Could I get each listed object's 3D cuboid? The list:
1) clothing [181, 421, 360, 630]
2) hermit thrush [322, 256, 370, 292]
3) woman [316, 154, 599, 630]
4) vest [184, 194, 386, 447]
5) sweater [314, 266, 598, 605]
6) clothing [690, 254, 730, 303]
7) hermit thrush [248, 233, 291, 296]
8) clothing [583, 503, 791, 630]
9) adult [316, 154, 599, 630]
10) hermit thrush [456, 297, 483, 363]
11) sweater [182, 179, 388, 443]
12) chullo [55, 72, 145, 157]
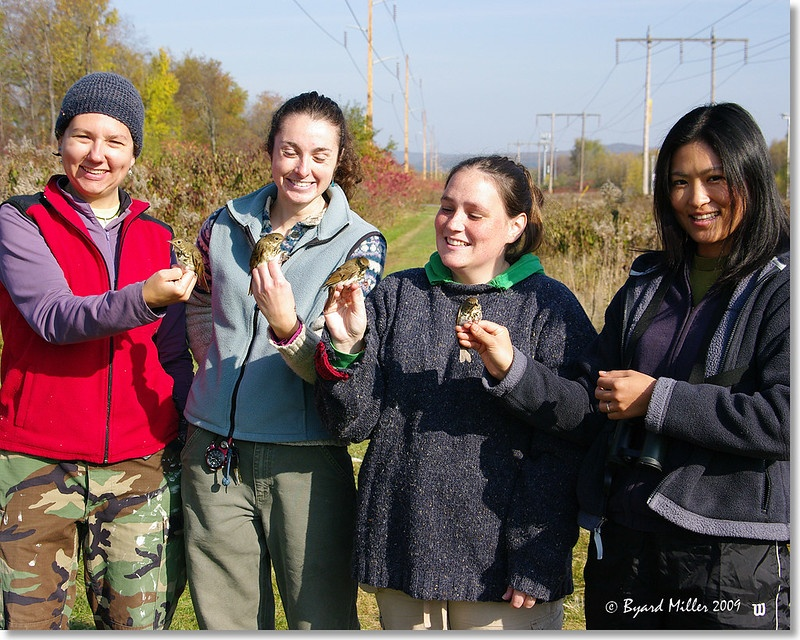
[{"bbox_3d":[-0.788,1.193,4.131,0.947,1.906,0.608,10,29,2],"label":"clothing"},{"bbox_3d":[-0.287,-0.242,3.637,0.240,0.207,0.130,7,-16,-5],"label":"hermit thrush"},{"bbox_3d":[0.218,0.878,3.747,1.304,3.243,1.183,3,5,5],"label":"woman"},{"bbox_3d":[-0.751,-0.031,4.185,1.166,1.468,0.693,7,-4,28],"label":"vest"},{"bbox_3d":[0.264,0.575,4.271,1.672,2.227,1.482,-1,-16,12],"label":"sweater"},{"bbox_3d":[1.512,-0.206,3.529,0.146,0.222,0.111,-4,-33,33],"label":"clothing"},{"bbox_3d":[-0.701,-0.320,3.765,0.193,0.289,0.448,-1,3,-7],"label":"hermit thrush"},{"bbox_3d":[1.367,1.055,3.477,0.875,0.856,0.516,-12,-22,37],"label":"clothing"},{"bbox_3d":[0.232,0.855,3.765,1.332,3.310,1.086,2,6,3],"label":"adult"},{"bbox_3d":[0.339,0.045,3.533,0.055,0.296,0.158,6,-8,-41],"label":"hermit thrush"},{"bbox_3d":[-0.619,-0.005,3.837,1.092,1.410,0.740,12,-7,10],"label":"sweater"},{"bbox_3d":[-1.645,-1.192,4.075,0.406,0.409,0.451,11,-11,-2],"label":"chullo"}]
